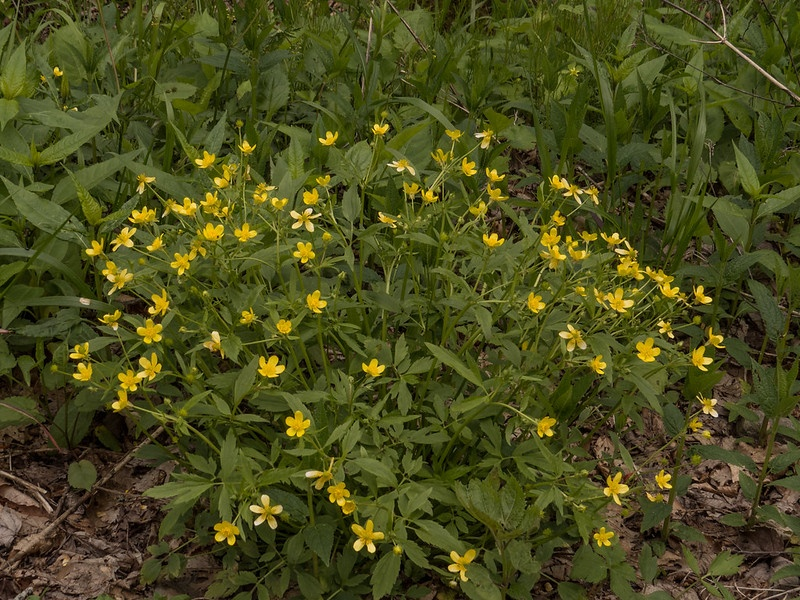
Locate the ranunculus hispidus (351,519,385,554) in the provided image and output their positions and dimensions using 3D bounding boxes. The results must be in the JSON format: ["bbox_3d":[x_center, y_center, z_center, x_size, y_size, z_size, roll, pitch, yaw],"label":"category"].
[{"bbox_3d":[-0.112,0.832,2.152,0.100,0.206,0.101,-10,66,-11],"label":"ranunculus hispidus"}]
